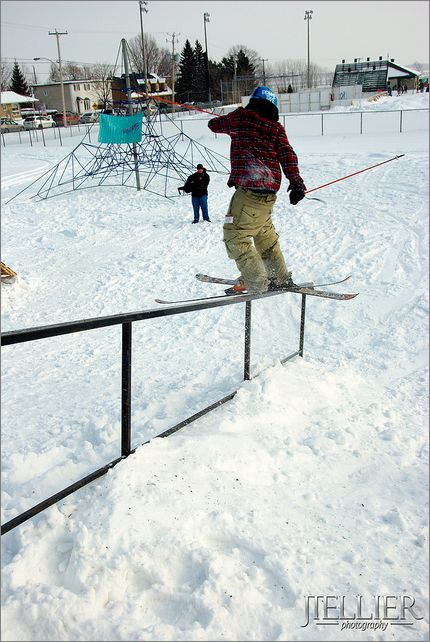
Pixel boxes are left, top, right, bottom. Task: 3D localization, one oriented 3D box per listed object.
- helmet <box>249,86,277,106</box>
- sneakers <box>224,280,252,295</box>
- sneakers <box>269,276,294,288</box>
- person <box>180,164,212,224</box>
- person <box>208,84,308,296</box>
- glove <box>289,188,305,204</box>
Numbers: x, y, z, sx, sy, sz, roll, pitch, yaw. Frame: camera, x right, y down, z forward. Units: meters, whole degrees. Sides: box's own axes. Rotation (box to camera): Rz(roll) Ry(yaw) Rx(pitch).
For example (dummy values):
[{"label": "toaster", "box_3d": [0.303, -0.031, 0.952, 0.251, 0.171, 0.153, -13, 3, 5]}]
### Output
[{"label": "helmet", "box_3d": [0.374, -1.723, 3.903, 0.160, 0.121, 0.238, 24, 30, 13]}, {"label": "sneakers", "box_3d": [0.208, -0.313, 4.767, 0.082, 0.105, 0.236, -15, 14, -33]}, {"label": "sneakers", "box_3d": [0.592, -0.349, 4.628, 0.123, 0.048, 0.123, -3, 12, 27]}, {"label": "person", "box_3d": [-0.392, -2.734, 10.899, 0.612, 1.226, 1.220, 2, 14, -2]}, {"label": "person", "box_3d": [0.397, -1.011, 4.087, 0.672, 1.617, 0.707, -11, 19, -41]}, {"label": "glove", "box_3d": [0.636, -0.981, 3.956, 0.099, 0.124, 0.224, 4, 14, 6]}]
